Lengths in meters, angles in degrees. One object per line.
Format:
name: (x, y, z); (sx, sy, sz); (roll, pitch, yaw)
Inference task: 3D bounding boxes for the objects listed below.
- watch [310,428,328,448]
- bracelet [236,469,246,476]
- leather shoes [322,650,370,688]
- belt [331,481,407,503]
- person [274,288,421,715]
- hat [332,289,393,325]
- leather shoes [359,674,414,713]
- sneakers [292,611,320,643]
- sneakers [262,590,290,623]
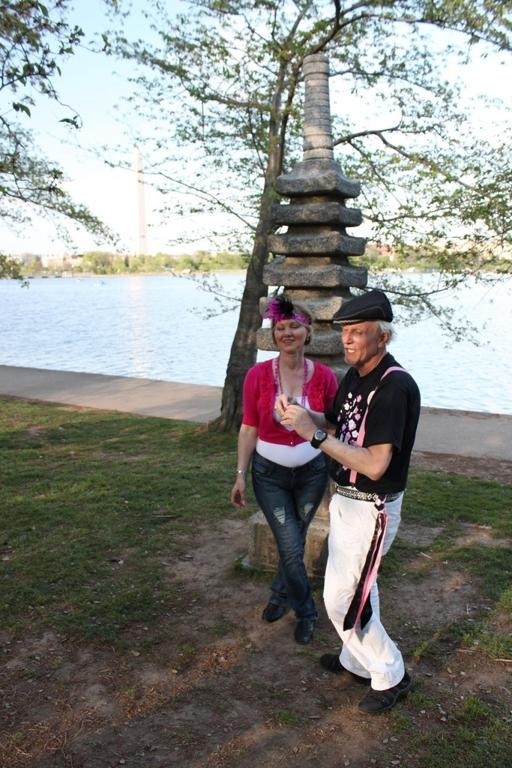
watch: (0.270, 0.237, 2.641); (0.058, 0.086, 0.081); (36, -12, 13)
bracelet: (-0.105, 0.569, 3.826); (0.057, 0.021, 0.061); (0, 1, 4)
leather shoes: (0.501, 1.577, 3.379); (0.095, 0.164, 0.279); (-13, 5, -39)
belt: (0.519, 0.499, 2.779); (0.167, 0.033, 0.167); (3, 4, -20)
person: (0.424, 0.592, 2.859); (0.623, 2.052, 0.562); (4, 8, 22)
hat: (0.479, -0.341, 2.734); (0.235, 0.125, 0.164); (-1, 9, -16)
leather shoes: (0.650, 1.561, 3.076); (0.297, 0.125, 0.106); (-18, -1, -35)
sneakers: (0.300, 1.517, 3.738); (0.085, 0.091, 0.225); (-2, 3, 14)
sneakers: (0.139, 1.493, 4.035); (0.104, 0.105, 0.280); (-2, -3, 19)
